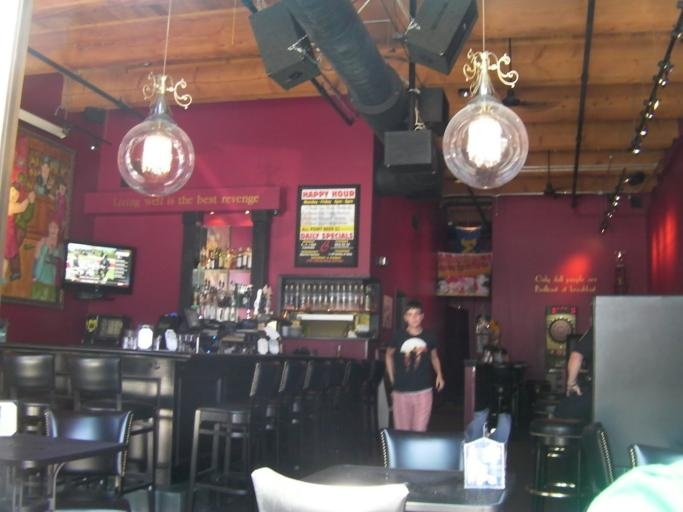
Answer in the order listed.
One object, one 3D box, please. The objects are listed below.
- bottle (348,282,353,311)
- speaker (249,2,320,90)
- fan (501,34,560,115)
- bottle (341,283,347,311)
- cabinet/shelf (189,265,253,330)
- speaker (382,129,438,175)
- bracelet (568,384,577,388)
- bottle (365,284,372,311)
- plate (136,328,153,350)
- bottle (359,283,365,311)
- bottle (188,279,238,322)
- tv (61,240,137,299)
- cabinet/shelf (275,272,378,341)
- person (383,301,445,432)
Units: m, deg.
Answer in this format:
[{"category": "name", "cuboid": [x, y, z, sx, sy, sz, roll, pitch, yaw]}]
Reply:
[{"category": "bottle", "cuboid": [0.111, 0.529, 8.061, 0.069, 0.303, 0.025, 2, -11, -8]}, {"category": "speaker", "cuboid": [-0.459, -1.757, 5.145, 0.477, 0.556, 0.440, -4, -12, 24]}, {"category": "fan", "cuboid": [2.440, -2.113, 7.808, 0.710, 0.797, 0.783, -4, -7, 22]}, {"category": "bottle", "cuboid": [0.033, 0.542, 8.064, 0.070, 0.313, 0.020, -1, -11, 10]}, {"category": "cabinet/shelf", "cuboid": [-1.615, 0.524, 8.522, 0.792, 0.752, 0.274, 1, 8, 0]}, {"category": "speaker", "cuboid": [0.681, -1.062, 6.246, 0.508, 0.387, 0.325, -1, -11, 6]}, {"category": "bracelet", "cuboid": [1.812, 1.021, 4.903, 0.040, 0.037, 0.099, 1, -11, -2]}, {"category": "bottle", "cuboid": [0.363, 0.543, 8.091, 0.030, 0.342, 0.159, -8, -14, 38]}, {"category": "plate", "cuboid": [-1.849, 0.791, 5.919, 0.135, 0.205, 0.045, 0, -13, 2]}, {"category": "bottle", "cuboid": [0.269, 0.532, 8.044, 0.061, 0.293, 0.026, 0, -11, 1]}, {"category": "bottle", "cuboid": [-1.704, 0.610, 8.406, 0.626, 0.473, 0.160, 1, -11, -1]}, {"category": "tv", "cuboid": [-3.297, 0.192, 8.473, 0.703, 0.615, 0.224, 7, -17, -24]}, {"category": "cabinet/shelf", "cuboid": [-0.144, 0.644, 8.455, 1.324, 0.859, 0.707, 1, 6, -5]}, {"category": "person", "cuboid": [0.699, 1.052, 6.014, 0.534, 1.220, 0.449, -1, -11, 7]}]
